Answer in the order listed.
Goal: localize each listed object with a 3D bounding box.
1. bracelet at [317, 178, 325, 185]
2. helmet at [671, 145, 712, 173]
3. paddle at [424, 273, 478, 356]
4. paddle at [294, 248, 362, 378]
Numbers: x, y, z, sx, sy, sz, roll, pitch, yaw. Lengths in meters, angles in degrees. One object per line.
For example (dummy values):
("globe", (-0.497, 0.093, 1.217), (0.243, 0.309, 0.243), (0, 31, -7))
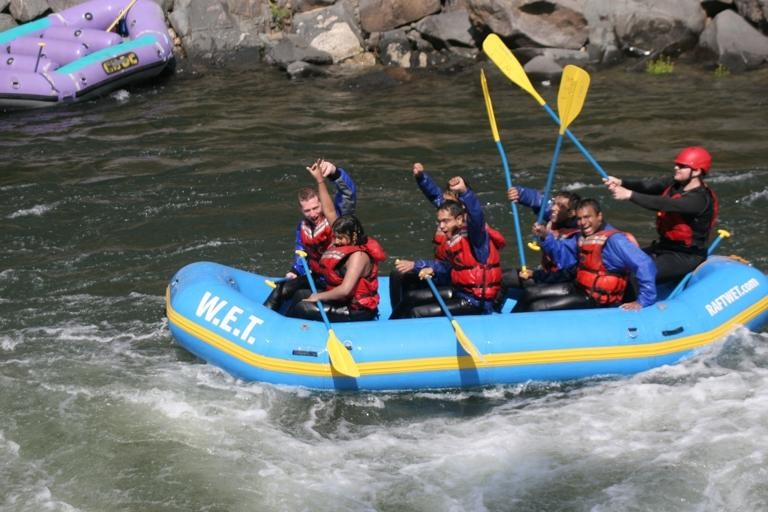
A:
("bracelet", (-0.857, -1.022, 15.673), (0.106, 0.023, 0.089), (7, 33, 10))
("helmet", (4.180, -1.305, 15.745), (0.650, 0.371, 0.424), (-7, 21, 4))
("paddle", (0.883, 0.802, 15.311), (0.201, 0.148, 1.506), (-19, 50, -32))
("paddle", (-0.885, 0.593, 15.547), (0.466, 0.195, 2.722), (-14, 45, -15))
